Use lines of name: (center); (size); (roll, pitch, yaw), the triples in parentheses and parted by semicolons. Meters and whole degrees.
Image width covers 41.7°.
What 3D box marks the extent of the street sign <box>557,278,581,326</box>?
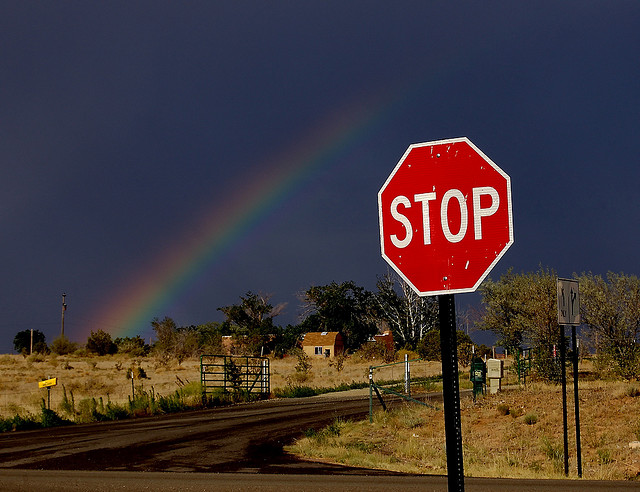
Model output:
street sign: (7.969, 1.753, 26.699); (0.086, 1.499, 1.131); (0, -2, -20)
